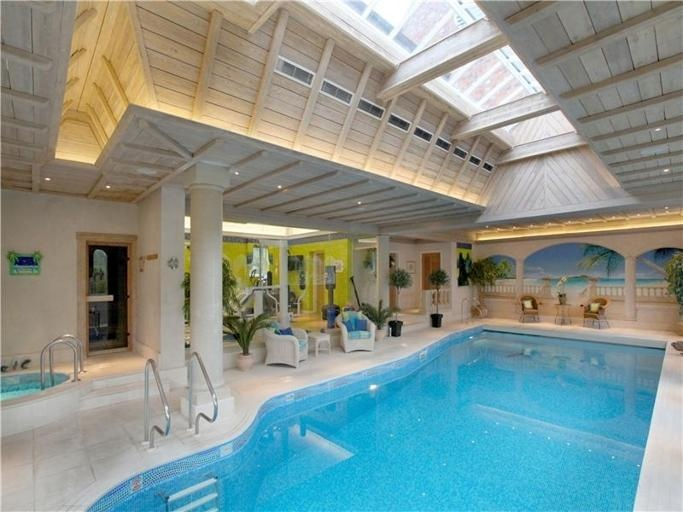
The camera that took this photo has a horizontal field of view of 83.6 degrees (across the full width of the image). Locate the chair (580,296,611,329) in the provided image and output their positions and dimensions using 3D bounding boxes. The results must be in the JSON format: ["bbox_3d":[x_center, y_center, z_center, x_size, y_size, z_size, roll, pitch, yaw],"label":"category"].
[{"bbox_3d":[9.767,2.115,14.632,0.831,1.048,1.130,0,2,34],"label":"chair"}]

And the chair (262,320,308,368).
[{"bbox_3d":[-1.517,2.250,9.803,1.146,0.972,1.150,4,-10,-16],"label":"chair"}]

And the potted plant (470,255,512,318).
[{"bbox_3d":[6.784,1.410,17.563,1.548,2.647,1.625,0,2,25],"label":"potted plant"}]

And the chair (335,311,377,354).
[{"bbox_3d":[0.402,2.175,11.278,1.110,1.006,1.100,-1,1,-1],"label":"chair"}]

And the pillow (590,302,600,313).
[{"bbox_3d":[9.576,1.904,14.392,0.141,0.358,0.305,35,-21,-21],"label":"pillow"}]

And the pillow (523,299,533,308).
[{"bbox_3d":[7.809,1.955,15.937,0.349,0.321,0.167,-1,2,26],"label":"pillow"}]

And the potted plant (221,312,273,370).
[{"bbox_3d":[-2.314,2.054,9.159,1.479,1.236,1.464,-4,-11,-3],"label":"potted plant"}]
